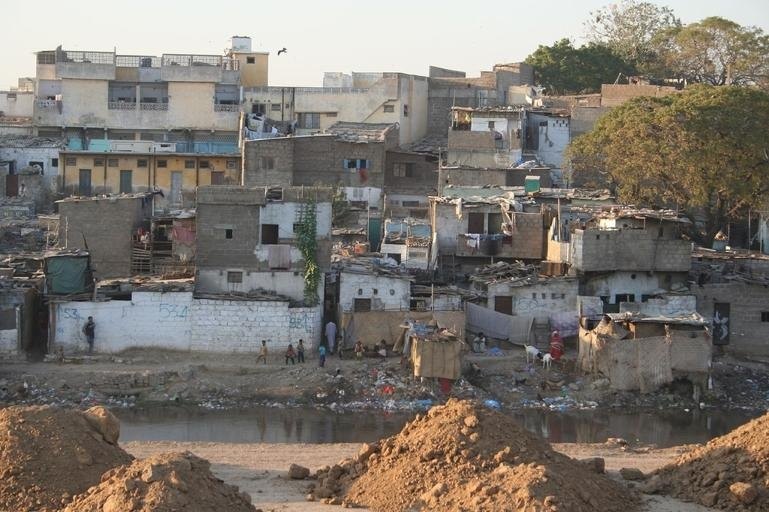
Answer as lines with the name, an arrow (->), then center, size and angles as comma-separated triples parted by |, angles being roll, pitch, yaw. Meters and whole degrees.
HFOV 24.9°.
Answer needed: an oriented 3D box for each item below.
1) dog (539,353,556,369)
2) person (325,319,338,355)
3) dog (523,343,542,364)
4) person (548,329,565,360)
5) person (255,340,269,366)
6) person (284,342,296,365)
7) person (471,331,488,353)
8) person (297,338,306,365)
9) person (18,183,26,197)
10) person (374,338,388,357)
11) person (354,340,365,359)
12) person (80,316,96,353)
dog -> 7.279, 4.706, 77.468 | 0.601, 0.623, 0.802 | 0, 3, 5
person -> -2.456, 3.713, 78.123 | 0.446, 1.374, 0.737 | 0, 3, -3
dog -> 6.764, 4.482, 77.744 | 1.168, 0.853, 0.418 | 6, 4, 32
person -> 7.702, 4.058, 78.255 | 0.617, 1.262, 1.598 | 0, 3, 8
person -> -5.500, 4.309, 77.193 | 0.516, 0.999, 0.704 | -1, 3, -6
person -> -4.238, 4.387, 77.130 | 0.505, 0.905, 0.685 | 0, 3, -2
person -> 4.253, 3.994, 78.630 | 0.797, 1.154, 0.688 | 10, -13, -32
person -> -3.756, 4.275, 77.225 | 0.333, 1.053, 0.790 | 0, 3, -2
person -> -19.780, -3.621, 94.688 | 0.332, 0.740, 0.189 | -1, 3, -9
person -> -0.211, 4.148, 77.304 | 0.531, 0.818, 0.525 | 0, 3, -3
person -> -1.141, 4.196, 77.293 | 0.390, 0.766, 0.590 | 1, 3, 26
person -> -13.104, 3.516, 76.832 | 0.563, 1.613, 0.342 | -1, 3, -11
